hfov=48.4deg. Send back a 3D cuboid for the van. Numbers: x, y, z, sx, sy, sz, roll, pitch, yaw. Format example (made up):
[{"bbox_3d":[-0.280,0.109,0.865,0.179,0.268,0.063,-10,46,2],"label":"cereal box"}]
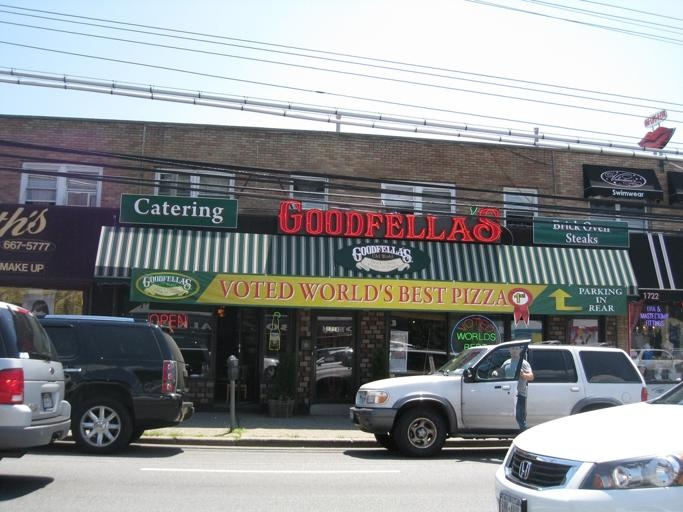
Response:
[{"bbox_3d":[-4.415,2.420,14.748,3.363,1.570,1.850,3,-9,0],"label":"van"}]

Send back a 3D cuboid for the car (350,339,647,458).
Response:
[{"bbox_3d":[3.029,2.855,15.480,5.579,1.949,2.426,3,-12,-7],"label":"car"}]

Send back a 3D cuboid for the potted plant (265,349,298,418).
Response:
[{"bbox_3d":[-1.480,3.344,19.484,0.633,1.620,0.469,2,-11,-9],"label":"potted plant"}]

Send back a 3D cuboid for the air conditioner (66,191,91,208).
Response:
[{"bbox_3d":[-7.491,-1.643,21.883,0.689,0.404,0.138,1,-11,-4],"label":"air conditioner"}]
